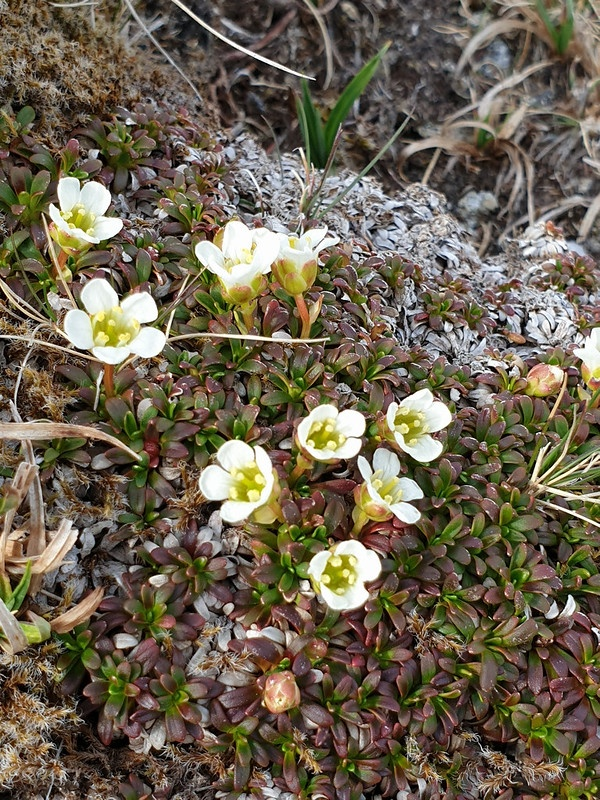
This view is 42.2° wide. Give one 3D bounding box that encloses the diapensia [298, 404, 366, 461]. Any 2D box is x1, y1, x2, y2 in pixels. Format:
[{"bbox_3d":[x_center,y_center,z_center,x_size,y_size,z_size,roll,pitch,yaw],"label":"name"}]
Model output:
[{"bbox_3d":[0.123,0.127,2.853,0.254,0.196,0.135,-1,12,-44],"label":"diapensia"}]
